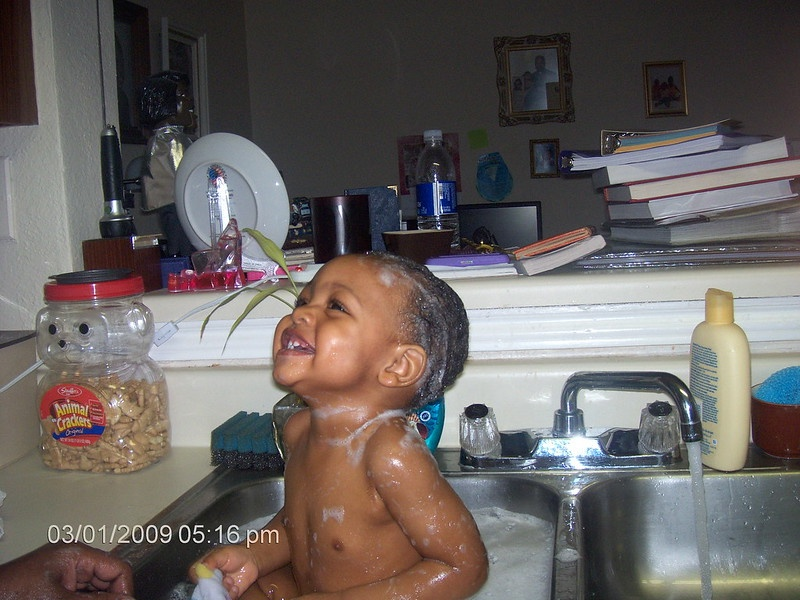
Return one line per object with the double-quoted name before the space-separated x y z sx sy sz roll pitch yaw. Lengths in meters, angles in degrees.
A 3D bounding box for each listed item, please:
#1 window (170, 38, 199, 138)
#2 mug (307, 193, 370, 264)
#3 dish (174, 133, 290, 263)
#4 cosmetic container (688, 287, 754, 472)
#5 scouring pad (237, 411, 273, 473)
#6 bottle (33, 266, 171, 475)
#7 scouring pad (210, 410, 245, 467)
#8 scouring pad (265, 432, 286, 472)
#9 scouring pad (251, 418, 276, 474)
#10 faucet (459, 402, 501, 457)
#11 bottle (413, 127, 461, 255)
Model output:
"window" -1.211 -1.297 3.554 0.022 0.428 0.363 -16 24 -9
"mug" -0.122 -0.157 1.266 0.112 0.127 0.114 -8 15 -15
"dish" -0.360 -0.229 1.304 0.258 0.238 0.069 2 9 27
"cosmetic container" 0.528 0.121 0.984 0.141 0.285 0.082 -6 9 -21
"scouring pad" -0.237 0.233 1.041 0.055 0.026 0.074 -1 29 1
"bottle" -0.536 0.148 1.103 0.211 0.311 0.116 -6 9 -24
"scouring pad" -0.303 0.239 1.082 0.018 0.073 0.074 20 31 16
"scouring pad" -0.203 0.249 1.042 0.050 0.067 0.021 -2 0 25
"scouring pad" -0.228 0.246 1.030 0.051 0.021 0.068 0 52 -2
"faucet" 0.131 0.216 1.059 0.078 0.077 0.080 -1 3 19
"bottle" 0.089 -0.231 1.478 0.093 0.348 0.094 -5 6 1
